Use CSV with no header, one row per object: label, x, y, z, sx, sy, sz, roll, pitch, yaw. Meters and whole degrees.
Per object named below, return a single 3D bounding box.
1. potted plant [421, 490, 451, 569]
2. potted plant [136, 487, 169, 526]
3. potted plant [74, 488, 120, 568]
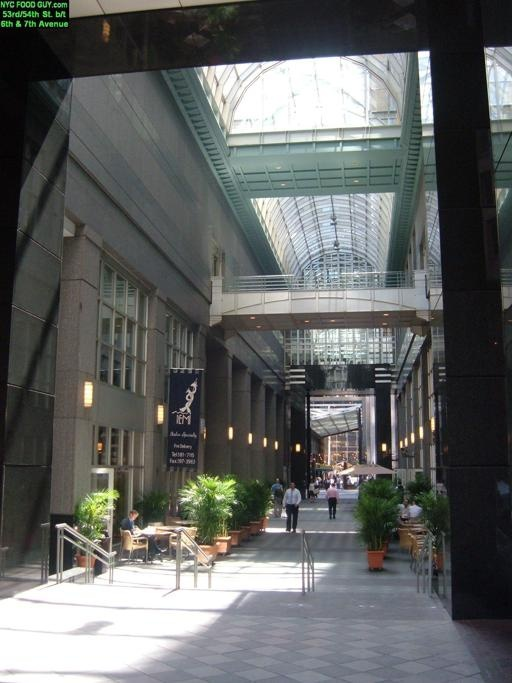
potted plant,3.152,3.305,9.961,0.509,1.390,0.659,-11,-28,29
potted plant,-2.896,4.674,15.941,0.732,0.954,0.842,2,-13,-4
potted plant,-3.159,3.798,11.269,0.703,1.411,0.756,0,-11,-10
